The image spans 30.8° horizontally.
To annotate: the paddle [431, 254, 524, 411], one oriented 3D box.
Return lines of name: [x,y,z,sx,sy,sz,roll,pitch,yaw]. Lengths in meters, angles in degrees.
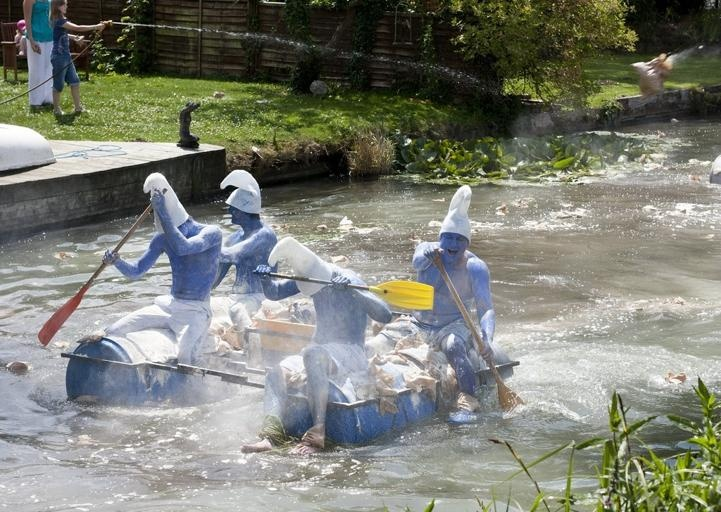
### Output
paddle: [1.533,1.105,17.652,0.368,2.420,0.219,-33,-7,9]

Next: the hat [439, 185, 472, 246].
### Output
hat: [1.270,-0.610,17.640,0.395,0.720,0.888,1,9,4]

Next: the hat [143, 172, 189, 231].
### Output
hat: [-2.547,-0.705,17.174,0.456,0.775,0.428,4,10,20]

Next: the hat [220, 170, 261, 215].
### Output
hat: [-1.615,-0.948,18.095,0.662,0.542,0.471,6,23,-6]
